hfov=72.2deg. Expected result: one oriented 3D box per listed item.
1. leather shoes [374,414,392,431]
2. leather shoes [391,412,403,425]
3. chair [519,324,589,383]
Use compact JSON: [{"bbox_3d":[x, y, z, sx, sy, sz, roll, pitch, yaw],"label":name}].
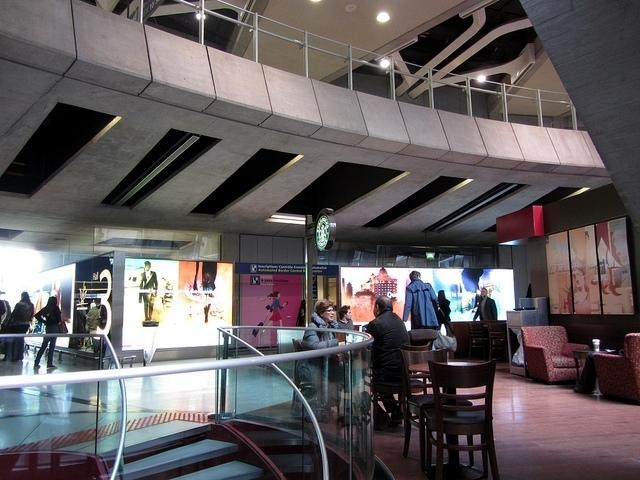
[{"bbox_3d":[0.873,2.563,6.192,0.282,0.194,0.153,5,-24,-13],"label":"leather shoes"},{"bbox_3d":[1.075,2.534,6.242,0.194,0.061,0.201,-3,-14,10],"label":"leather shoes"},{"bbox_3d":[4.983,2.415,9.419,1.045,1.153,1.133,0,-16,0],"label":"chair"}]
